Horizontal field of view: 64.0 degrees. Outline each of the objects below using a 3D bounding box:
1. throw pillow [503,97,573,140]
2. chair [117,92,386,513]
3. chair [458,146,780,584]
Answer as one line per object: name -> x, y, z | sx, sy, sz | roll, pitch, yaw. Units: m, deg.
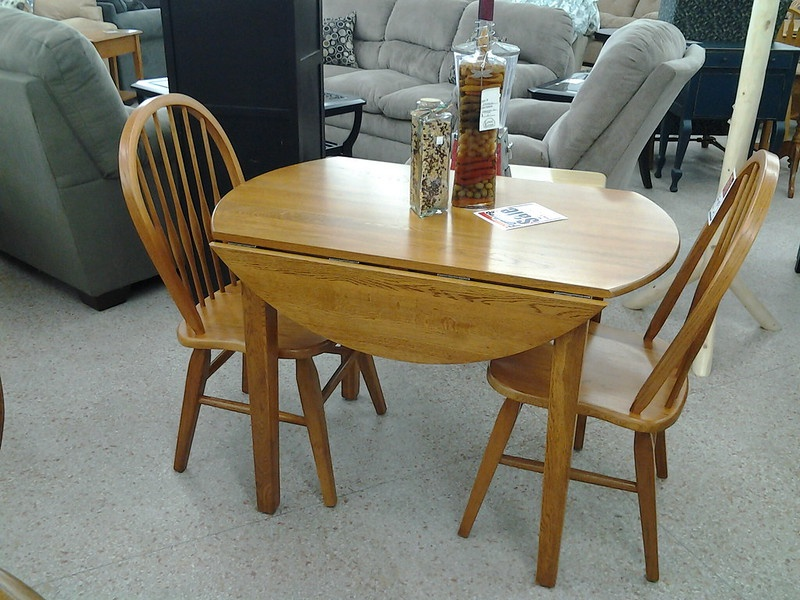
throw pillow -> 0.771, -1.054, 3.647 | 0.305, 0.155, 0.296 | 14, 48, 19
chair -> -0.511, 0.040, 2.184 | 0.808, 1.461, 0.769 | 12, 39, 9
chair -> 0.596, 0.154, 1.923 | 0.808, 1.153, 0.706 | 16, 29, 38
